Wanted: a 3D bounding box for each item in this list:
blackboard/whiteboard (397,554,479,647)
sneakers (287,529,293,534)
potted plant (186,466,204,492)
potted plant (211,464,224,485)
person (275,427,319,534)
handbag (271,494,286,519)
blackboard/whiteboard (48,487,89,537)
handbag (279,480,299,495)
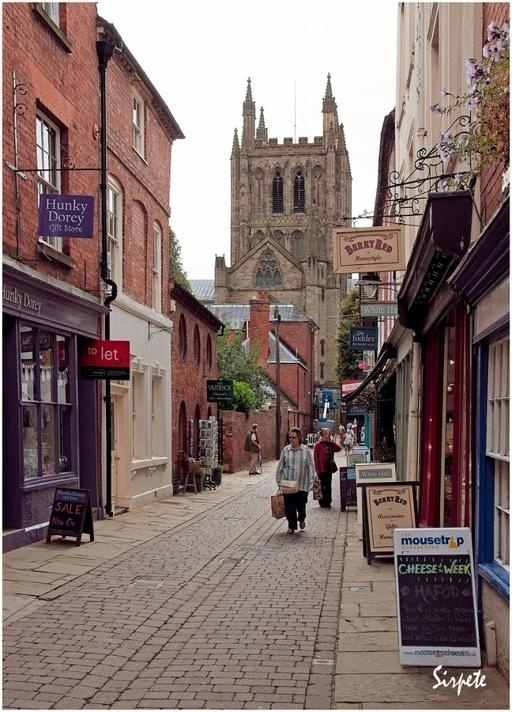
[{"bbox_3d":[1.147,1.557,5.056,0.516,0.887,0.036,-2,23,17],"label":"blackboard/whiteboard"},{"bbox_3d":[0.556,2.859,12.936,0.104,0.085,0.263,-2,-9,5],"label":"sneakers"},{"bbox_3d":[-1.689,3.426,22.066,0.453,0.994,0.504,-2,-3,34],"label":"potted plant"},{"bbox_3d":[-1.181,3.632,24.273,0.409,0.692,0.420,0,-3,-1],"label":"potted plant"},{"bbox_3d":[0.666,2.020,13.062,0.463,1.806,0.473,-3,15,-9],"label":"person"},{"bbox_3d":[0.353,2.388,12.683,0.177,0.355,0.370,-7,-9,41],"label":"handbag"},{"bbox_3d":[-2.556,2.148,10.920,0.396,0.793,0.338,7,9,1],"label":"blackboard/whiteboard"},{"bbox_3d":[0.508,2.089,12.644,0.305,0.223,0.295,-4,-8,12],"label":"handbag"}]
